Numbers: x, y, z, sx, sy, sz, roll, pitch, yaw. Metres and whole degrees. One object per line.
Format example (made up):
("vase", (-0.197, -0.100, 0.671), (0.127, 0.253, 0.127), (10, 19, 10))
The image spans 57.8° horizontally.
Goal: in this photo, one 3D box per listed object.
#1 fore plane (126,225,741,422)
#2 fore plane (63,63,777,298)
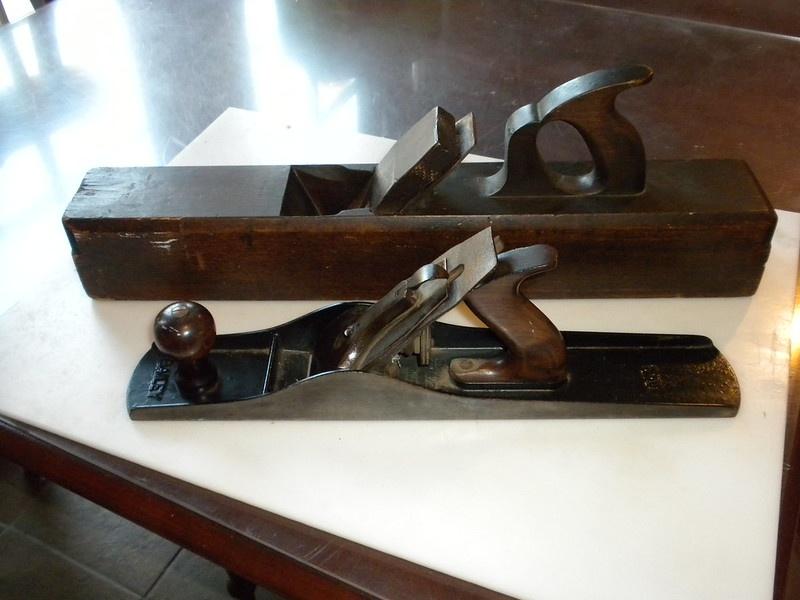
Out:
("fore plane", (0.103, 0.069, 1.953), (1.686, 0.580, 0.311), (2, 39, -2))
("fore plane", (0.010, -0.294, 2.296), (2.172, 0.576, 0.301), (0, 29, 6))
